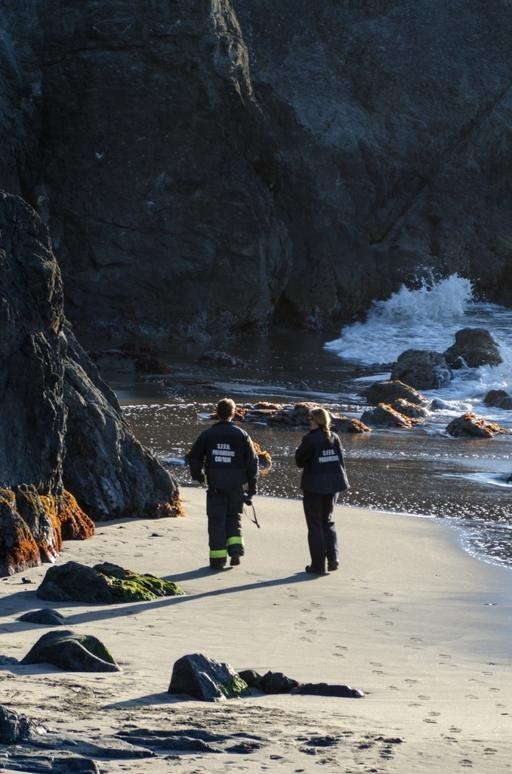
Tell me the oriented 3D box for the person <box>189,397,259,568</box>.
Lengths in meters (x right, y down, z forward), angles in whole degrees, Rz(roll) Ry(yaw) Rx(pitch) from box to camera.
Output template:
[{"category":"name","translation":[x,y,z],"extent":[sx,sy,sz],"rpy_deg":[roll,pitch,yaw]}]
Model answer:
[{"category":"person","translation":[-0.257,0.822,12.648],"extent":[0.591,1.423,0.394],"rpy_deg":[0,-1,-41]}]

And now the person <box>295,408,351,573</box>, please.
[{"category":"person","translation":[0.544,0.890,12.795],"extent":[0.428,1.399,0.663],"rpy_deg":[-1,-1,1]}]

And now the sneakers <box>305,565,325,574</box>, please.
[{"category":"sneakers","translation":[0.478,1.547,12.491],"extent":[0.157,0.074,0.136],"rpy_deg":[-1,-2,1]}]
